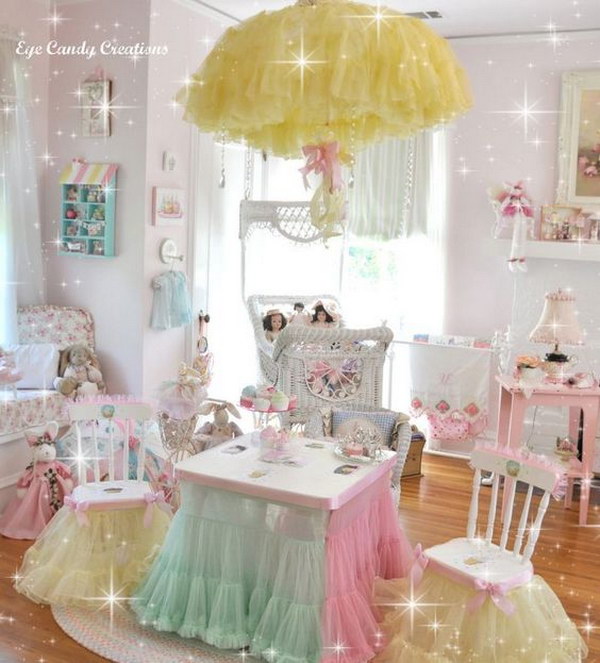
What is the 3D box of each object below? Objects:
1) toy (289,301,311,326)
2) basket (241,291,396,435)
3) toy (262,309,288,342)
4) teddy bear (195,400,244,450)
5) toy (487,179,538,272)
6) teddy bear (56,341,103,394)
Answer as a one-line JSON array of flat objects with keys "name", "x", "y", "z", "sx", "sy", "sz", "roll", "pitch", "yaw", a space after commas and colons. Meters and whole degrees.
[{"name": "toy", "x": -0.003, "y": -0.139, "z": 4.082, "sx": 0.151, "sy": 0.150, "sz": 0.325, "roll": -8, "pitch": 16, "yaw": 5}, {"name": "basket", "x": 0.230, "y": 0.254, "z": 3.494, "sx": 0.722, "sy": 0.641, "sz": 1.189, "roll": -2, "pitch": 0, "yaw": 6}, {"name": "toy", "x": -0.234, "y": -0.020, "z": 4.093, "sx": 0.243, "sy": 0.331, "sz": 0.234, "roll": 1, "pitch": -12, "yaw": -13}, {"name": "teddy bear", "x": -0.456, "y": 0.518, "z": 2.817, "sx": 0.261, "sy": 0.279, "sz": 0.422, "roll": 0, "pitch": 8, "yaw": -8}, {"name": "toy", "x": 1.613, "y": -0.806, "z": 3.845, "sx": 0.291, "sy": 0.688, "sz": 0.410, "roll": 5, "pitch": 8, "yaw": 27}, {"name": "teddy bear", "x": -1.591, "y": 0.199, "z": 3.676, "sx": 0.411, "sy": 0.147, "sz": 0.337, "roll": -3, "pitch": 22, "yaw": -37}]
